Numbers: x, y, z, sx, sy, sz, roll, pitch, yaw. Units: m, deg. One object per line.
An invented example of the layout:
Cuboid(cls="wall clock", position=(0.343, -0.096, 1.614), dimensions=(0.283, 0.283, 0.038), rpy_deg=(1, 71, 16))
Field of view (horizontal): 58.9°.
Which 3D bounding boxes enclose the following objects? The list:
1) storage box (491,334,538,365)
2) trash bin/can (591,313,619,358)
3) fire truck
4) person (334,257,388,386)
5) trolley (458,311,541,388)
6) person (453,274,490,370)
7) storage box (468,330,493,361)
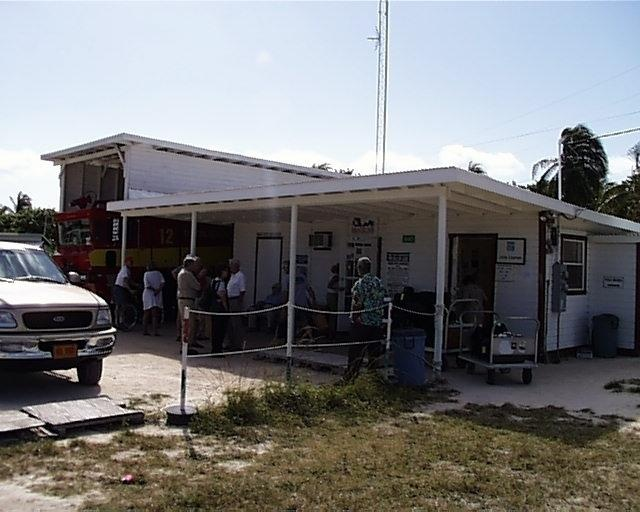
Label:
Cuboid(cls="storage box", position=(3.396, 1.621, 9.905), dimensions=(0.554, 0.375, 0.577), rpy_deg=(-2, -4, 17))
Cuboid(cls="trash bin/can", position=(7.061, 1.950, 13.921), dimensions=(0.739, 1.037, 0.516), rpy_deg=(2, -3, 1))
Cuboid(cls="fire truck", position=(-5.730, 0.024, 18.288), dimensions=(4.779, 3.957, 4.785), rpy_deg=(3, -2, 43))
Cuboid(cls="person", position=(0.688, 0.938, 8.814), dimensions=(0.661, 1.779, 0.570), rpy_deg=(0, 0, 29))
Cuboid(cls="trolley", position=(3.372, 1.708, 10.713), dimensions=(1.071, 1.214, 1.869), rpy_deg=(1, -4, -5))
Cuboid(cls="person", position=(3.240, 1.314, 11.423), dimensions=(0.894, 1.826, 0.925), rpy_deg=(2, 0, 5))
Cuboid(cls="storage box", position=(2.873, 1.580, 10.164), dimensions=(0.379, 0.735, 0.531), rpy_deg=(-3, -7, 42))
